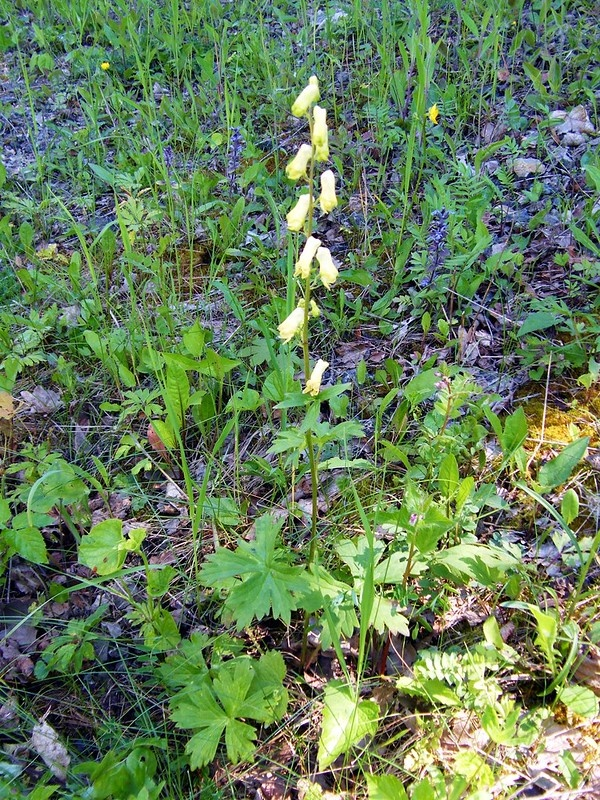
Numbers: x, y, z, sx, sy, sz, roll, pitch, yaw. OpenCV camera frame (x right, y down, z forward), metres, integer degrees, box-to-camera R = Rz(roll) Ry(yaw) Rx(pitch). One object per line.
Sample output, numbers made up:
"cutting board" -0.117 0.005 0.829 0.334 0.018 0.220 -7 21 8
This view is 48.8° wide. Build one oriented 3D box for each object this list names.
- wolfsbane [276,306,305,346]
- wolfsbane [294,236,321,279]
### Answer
"wolfsbane" -0.035 -0.243 2.169 0.082 0.061 0.138 6 89 2
"wolfsbane" 0.026 -0.464 2.113 0.079 0.058 0.141 19 81 -9
